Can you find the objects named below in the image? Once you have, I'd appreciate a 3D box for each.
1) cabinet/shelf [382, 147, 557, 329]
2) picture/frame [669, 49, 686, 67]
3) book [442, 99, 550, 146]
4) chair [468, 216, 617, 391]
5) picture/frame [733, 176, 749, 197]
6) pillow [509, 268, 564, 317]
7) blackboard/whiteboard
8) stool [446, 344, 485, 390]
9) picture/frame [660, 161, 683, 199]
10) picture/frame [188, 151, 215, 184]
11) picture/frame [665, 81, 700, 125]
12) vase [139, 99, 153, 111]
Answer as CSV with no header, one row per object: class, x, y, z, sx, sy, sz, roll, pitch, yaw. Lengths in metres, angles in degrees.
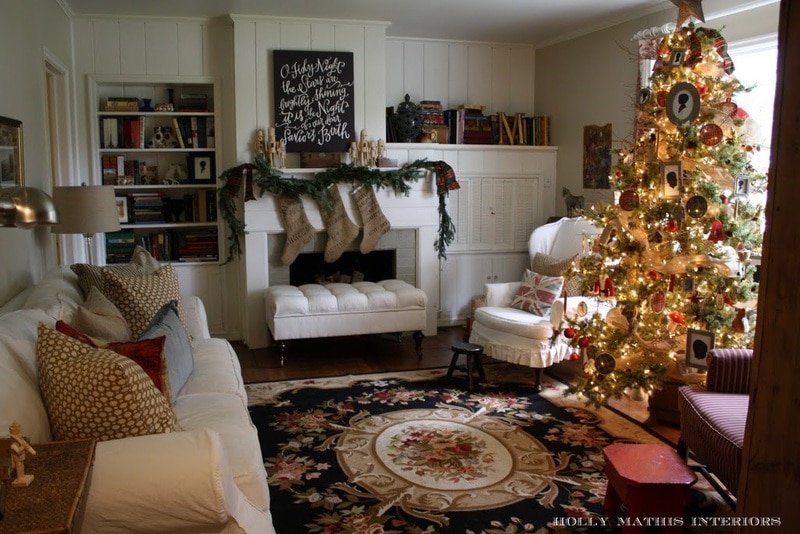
cabinet/shelf,0.650,-0.310,6.268,2.034,2.324,0.601,0,2,-11
picture/frame,1.835,-1.390,3.965,0.021,0.091,0.090,-3,11,-40
book,1.114,-1.595,6.767,1.258,0.436,0.394,-5,13,-25
chair,1.347,0.217,5.402,1.487,1.636,1.236,-1,7,-31
picture/frame,2.187,-0.514,3.826,0.085,0.123,0.075,6,13,26
pillow,1.203,0.235,5.189,0.115,0.354,0.375,22,2,-37
blackboard/whiteboard,-0.892,-1.680,5.965,1.056,1.172,0.060,-1,3,-17
stool,0.592,0.828,5.131,0.346,0.369,0.348,-2,3,-40
picture/frame,1.814,-0.578,3.979,0.049,0.236,0.151,-5,13,-25
picture/frame,-2.056,-1.032,6.237,0.319,0.308,0.170,0,8,-4
picture/frame,1.851,-1.064,3.911,0.048,0.236,0.231,-3,-13,-37
vase,-2.595,-1.646,6.100,0.152,0.145,0.150,-7,15,-33
